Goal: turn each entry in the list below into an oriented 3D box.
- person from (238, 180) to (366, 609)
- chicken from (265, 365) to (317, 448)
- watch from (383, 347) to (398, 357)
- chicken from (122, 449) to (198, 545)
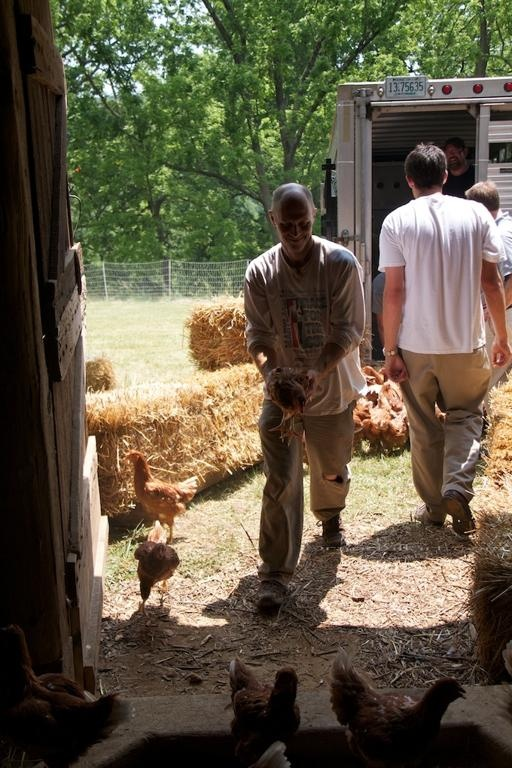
[{"bbox_3d":[0.261,0.142,3.772,0.784,1.969,0.995,0,2,10],"label":"person"},{"bbox_3d":[0.146,0.083,3.319,0.152,0.292,0.262,3,-2,31],"label":"chicken"},{"bbox_3d":[0.860,-0.189,4.560,0.065,0.061,0.068,8,13,-6],"label":"watch"},{"bbox_3d":[-0.646,0.760,4.858,0.538,0.586,0.290,2,-8,-26],"label":"chicken"}]
